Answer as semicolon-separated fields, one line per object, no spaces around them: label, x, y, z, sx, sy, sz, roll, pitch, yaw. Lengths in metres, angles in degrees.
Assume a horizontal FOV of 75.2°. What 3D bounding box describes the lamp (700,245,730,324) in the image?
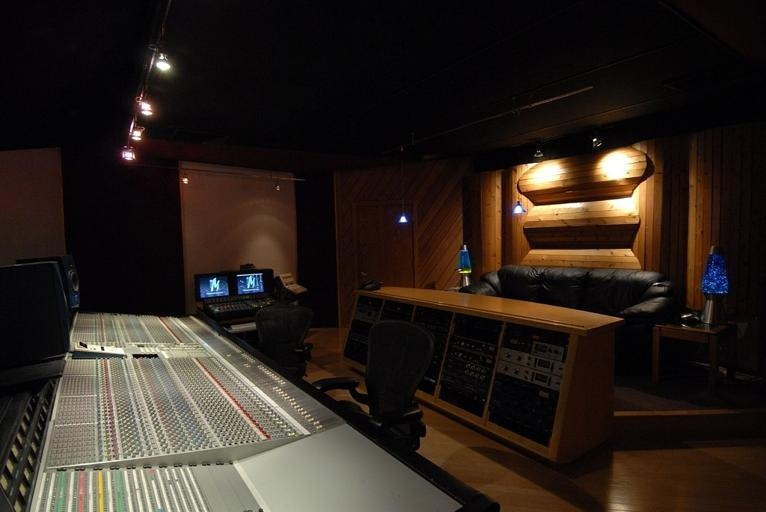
lamp;3.627;0.328;5.451;0.229;0.998;0.316;2;1;34

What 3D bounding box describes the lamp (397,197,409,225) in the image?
lamp;0.330;-0.782;8.453;0.195;0.413;0.226;2;0;5

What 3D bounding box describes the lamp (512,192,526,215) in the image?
lamp;2.195;-0.872;8.081;0.233;0.376;0.380;2;0;22

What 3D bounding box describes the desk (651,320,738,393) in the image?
desk;3.520;1.084;5.636;0.991;0.815;0.719;3;0;-45

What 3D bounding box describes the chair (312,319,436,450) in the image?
chair;-0.010;1.043;4.096;0.675;0.936;0.817;2;0;-29

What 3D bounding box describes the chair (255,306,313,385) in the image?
chair;-1.044;0.897;5.338;0.593;0.616;0.335;2;0;17
